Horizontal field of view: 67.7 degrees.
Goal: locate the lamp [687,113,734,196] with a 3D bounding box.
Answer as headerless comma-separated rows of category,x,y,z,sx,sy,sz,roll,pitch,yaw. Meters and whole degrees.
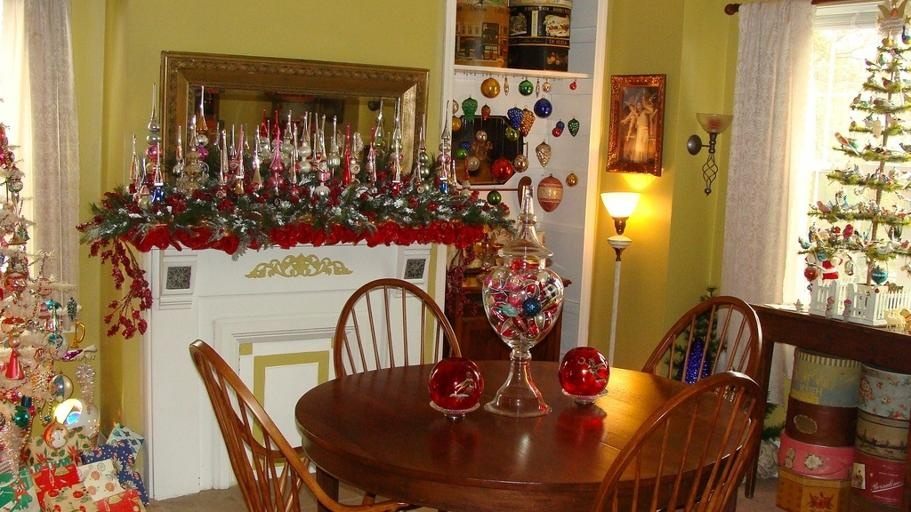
lamp,2.078,-0.820,5.486,0.406,0.650,0.302,-4,9,-17

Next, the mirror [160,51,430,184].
mirror,-1.071,-0.976,4.729,1.802,0.807,0.057,-4,9,-19
